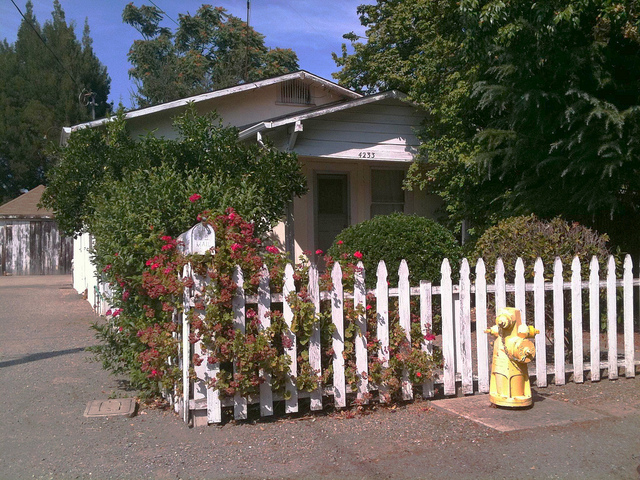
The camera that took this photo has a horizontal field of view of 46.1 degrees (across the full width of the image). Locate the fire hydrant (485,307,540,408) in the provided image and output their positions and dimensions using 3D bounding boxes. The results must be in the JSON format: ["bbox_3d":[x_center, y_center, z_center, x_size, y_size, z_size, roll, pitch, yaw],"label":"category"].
[{"bbox_3d":[2.386,1.478,9.423,0.626,1.234,0.396,0,8,15],"label":"fire hydrant"}]
